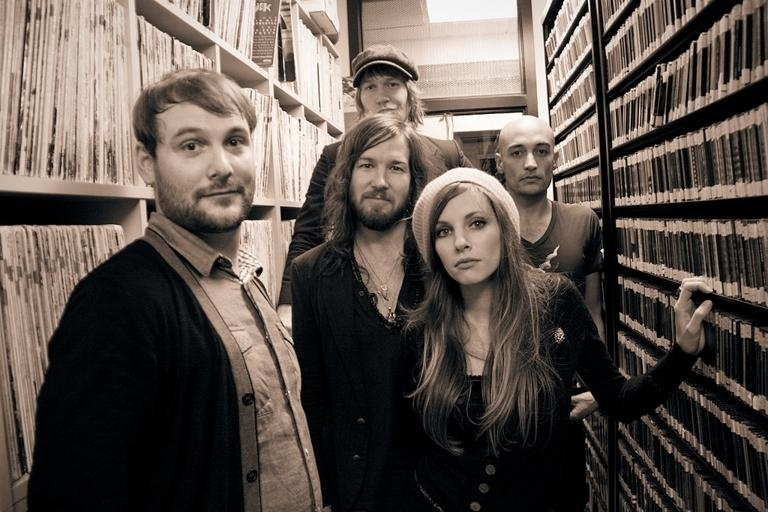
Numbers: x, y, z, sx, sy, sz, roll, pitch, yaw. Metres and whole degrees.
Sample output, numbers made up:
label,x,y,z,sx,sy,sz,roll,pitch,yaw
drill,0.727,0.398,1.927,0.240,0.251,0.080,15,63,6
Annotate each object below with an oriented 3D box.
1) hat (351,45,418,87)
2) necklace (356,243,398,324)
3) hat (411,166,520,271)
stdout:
label,x,y,z,sx,sy,sz,roll,pitch,yaw
hat,0.001,-0.978,3.182,0.286,0.215,0.407,-2,-3,-10
necklace,-0.019,0.092,2.448,0.137,0.251,0.039,-1,-19,-27
hat,0.304,-0.139,2.389,0.357,0.343,0.314,4,-39,4
